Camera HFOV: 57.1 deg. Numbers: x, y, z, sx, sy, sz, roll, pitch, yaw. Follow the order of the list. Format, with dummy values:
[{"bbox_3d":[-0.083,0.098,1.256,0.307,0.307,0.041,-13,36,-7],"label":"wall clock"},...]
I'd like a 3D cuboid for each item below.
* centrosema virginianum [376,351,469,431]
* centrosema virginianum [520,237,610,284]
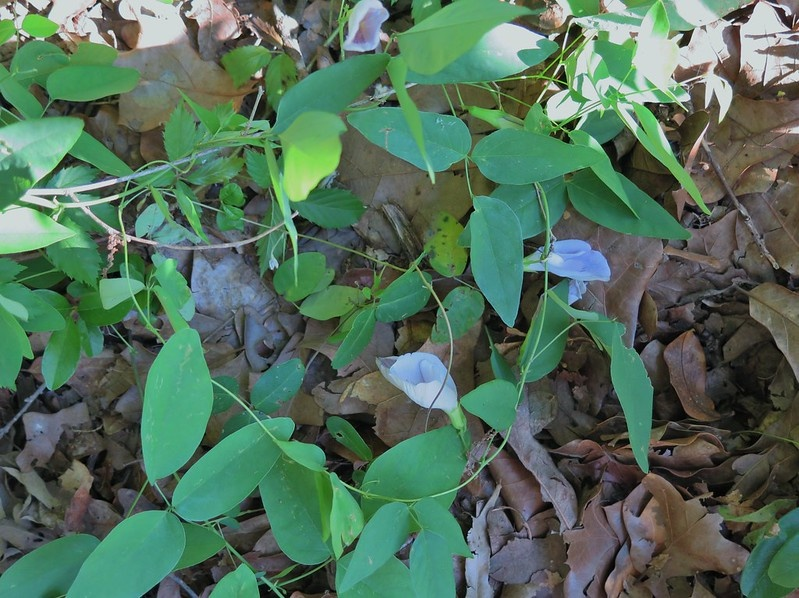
[{"bbox_3d":[0.053,0.191,1.563,0.088,0.233,0.128,-52,17,22],"label":"centrosema virginianum"},{"bbox_3d":[0.356,-0.105,1.630,0.151,0.048,0.069,8,-22,-28],"label":"centrosema virginianum"}]
